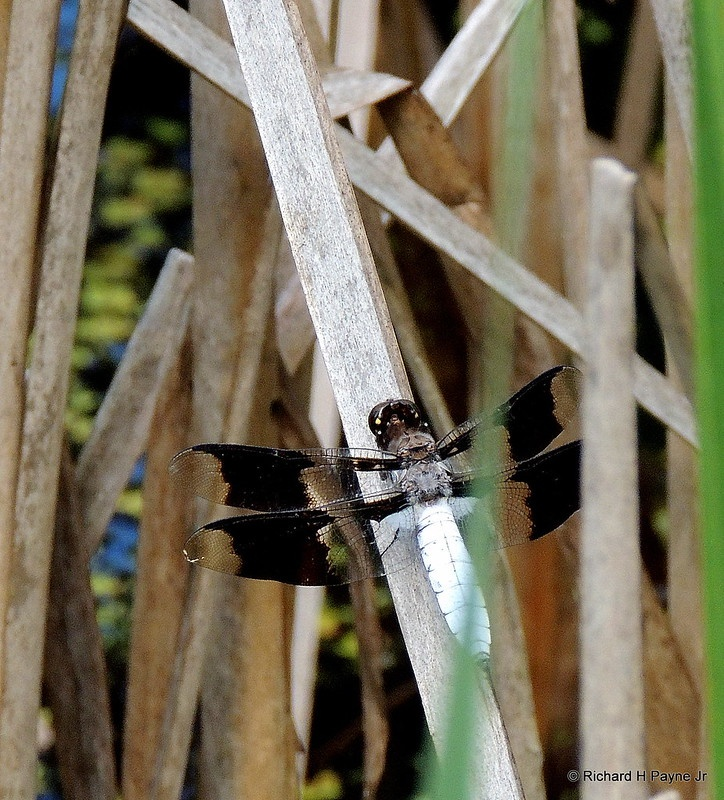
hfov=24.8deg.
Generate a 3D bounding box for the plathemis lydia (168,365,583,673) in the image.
[{"bbox_3d":[-0.025,0.027,1.296,0.275,0.243,0.159,-11,-48,14],"label":"plathemis lydia"}]
